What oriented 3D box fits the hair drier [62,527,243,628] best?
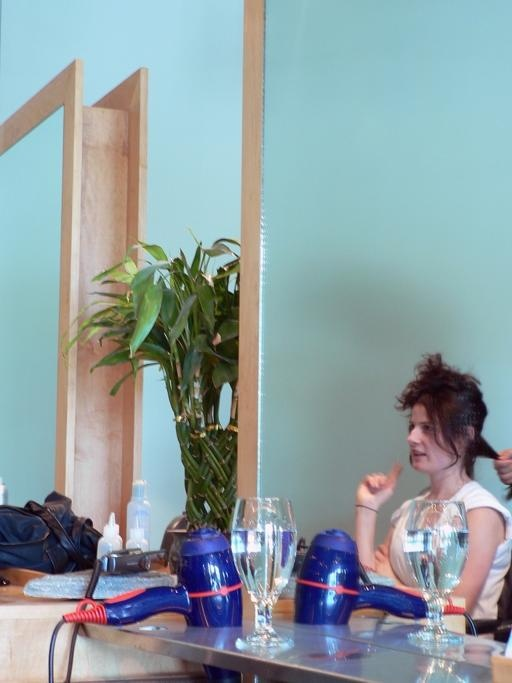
[{"bbox_3d":[-0.107,0.250,0.854,0.186,0.096,0.067,-3,-6,-20],"label":"hair drier"}]

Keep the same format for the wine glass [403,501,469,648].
[{"bbox_3d":[0.142,0.188,0.684,0.041,0.120,0.083,-5,-1,-14],"label":"wine glass"}]

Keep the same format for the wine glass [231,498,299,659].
[{"bbox_3d":[0.007,0.207,0.750,0.059,0.135,0.147,-5,-1,4],"label":"wine glass"}]
